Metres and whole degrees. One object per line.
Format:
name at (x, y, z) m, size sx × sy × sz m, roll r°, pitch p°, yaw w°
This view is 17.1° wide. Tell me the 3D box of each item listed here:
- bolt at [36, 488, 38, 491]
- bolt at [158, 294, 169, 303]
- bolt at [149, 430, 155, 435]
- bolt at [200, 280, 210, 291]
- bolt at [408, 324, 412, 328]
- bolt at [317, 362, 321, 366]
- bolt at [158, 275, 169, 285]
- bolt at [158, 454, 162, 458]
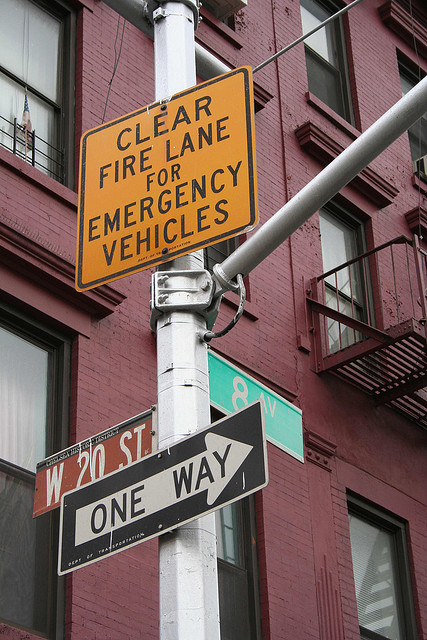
bolt at (-0.952, 0.902, 7.551) m, size 0.010 × 0.018 × 0.004 m, roll -11°, pitch -8°, yaw 26°
bolt at (-0.262, -0.108, 7.234) m, size 0.049 × 0.045 × 0.010 m, roll 3°, pitch -27°, yaw -7°
bolt at (-0.306, 0.560, 7.023) m, size 0.016 × 0.021 × 0.033 m, roll -1°, pitch -14°, yaw 12°
bolt at (-0.042, -0.176, 7.236) m, size 0.035 × 0.084 × 0.054 m, roll 3°, pitch -66°, yaw 6°
bolt at (1.883, 0.061, 13.456) m, size 0.012 × 0.025 × 0.029 m, roll -3°, pitch -15°, yaw -39°
bolt at (1.042, 0.433, 13.882) m, size 0.023 × 0.032 × 0.025 m, roll 2°, pitch -3°, yaw -31°
bolt at (-0.262, -0.204, 7.312) m, size 0.056 × 0.060 × 0.006 m, roll 4°, pitch -27°, yaw -9°
bolt at (-0.259, 0.650, 6.766) m, size 0.021 × 0.017 × 0.006 m, roll -13°, pitch -30°, yaw 17°
